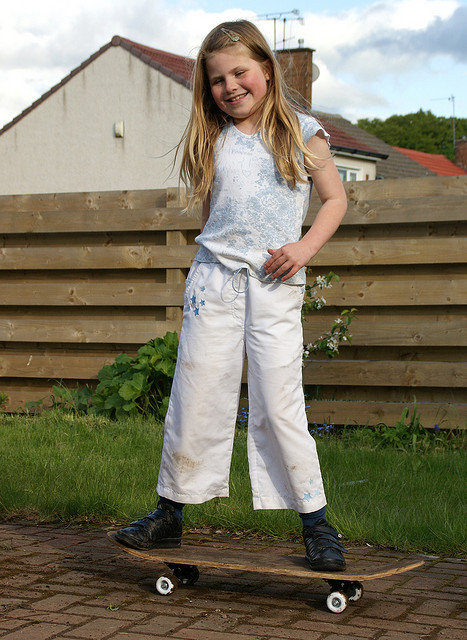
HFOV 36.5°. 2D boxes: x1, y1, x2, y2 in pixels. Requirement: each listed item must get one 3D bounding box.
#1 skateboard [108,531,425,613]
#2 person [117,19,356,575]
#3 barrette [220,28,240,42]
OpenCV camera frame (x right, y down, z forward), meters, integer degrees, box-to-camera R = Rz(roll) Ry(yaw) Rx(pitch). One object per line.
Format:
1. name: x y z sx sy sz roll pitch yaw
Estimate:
1. skateboard: 0.090 0.756 2.099 0.971 0.137 0.242 1 -1 16
2. person: 0.023 -0.098 2.103 0.643 1.604 0.518 1 5 8
3. barrette: -0.011 -0.825 2.054 0.016 0.028 0.059 32 9 -41
